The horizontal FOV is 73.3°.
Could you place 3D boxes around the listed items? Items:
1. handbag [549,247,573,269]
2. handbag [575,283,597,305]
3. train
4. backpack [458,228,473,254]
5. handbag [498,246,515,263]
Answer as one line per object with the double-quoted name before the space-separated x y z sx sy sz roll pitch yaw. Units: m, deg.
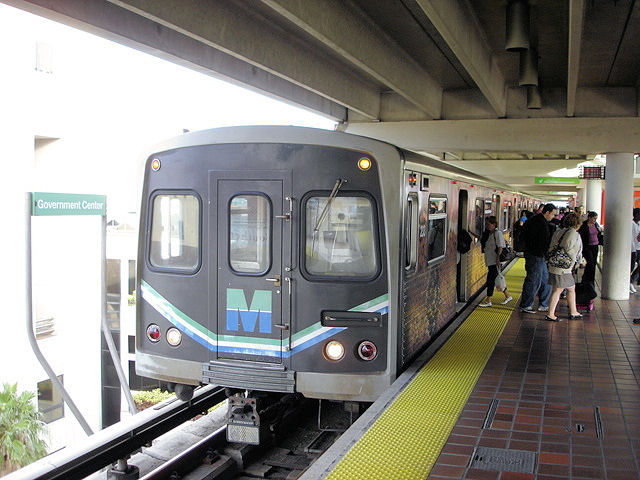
"handbag" 4.608 0.336 8.217 0.191 0.378 0.364 -2 9 -32
"handbag" 5.994 1.203 9.797 0.359 0.549 0.529 1 2 31
"train" 0.219 0.629 5.867 4.698 3.955 2.392 1 4 -37
"backpack" 3.101 0.021 9.289 0.326 0.488 0.177 6 6 21
"handbag" 4.833 0.364 11.181 0.214 0.349 0.858 -7 0 29
